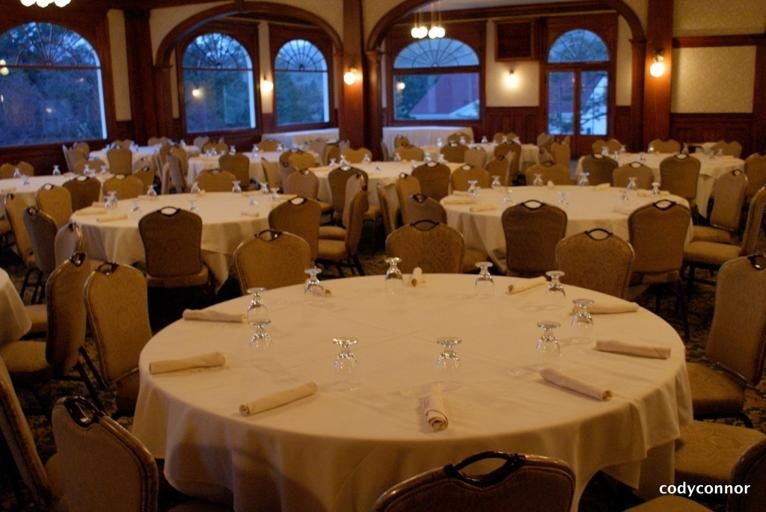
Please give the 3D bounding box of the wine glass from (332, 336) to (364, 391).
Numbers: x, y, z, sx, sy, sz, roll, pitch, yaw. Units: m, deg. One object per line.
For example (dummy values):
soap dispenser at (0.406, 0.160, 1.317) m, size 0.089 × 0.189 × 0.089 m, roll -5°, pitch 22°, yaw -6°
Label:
wine glass at (-0.144, 0.428, 2.370) m, size 0.162 × 0.172 × 0.146 m, roll -11°, pitch 19°, yaw -27°

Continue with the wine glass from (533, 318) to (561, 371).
wine glass at (0.705, 0.395, 2.481) m, size 0.124 × 0.234 × 0.128 m, roll 6°, pitch 18°, yaw 31°

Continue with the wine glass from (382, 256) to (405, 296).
wine glass at (0.067, 0.102, 3.286) m, size 0.119 × 0.208 × 0.292 m, roll -1°, pitch 10°, yaw 1°

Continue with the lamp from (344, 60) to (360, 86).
lamp at (-0.618, -3.658, 11.706) m, size 0.259 × 0.438 × 0.420 m, roll 8°, pitch 14°, yaw 37°

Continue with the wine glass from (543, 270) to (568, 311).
wine glass at (0.909, 0.196, 3.046) m, size 0.124 × 0.221 × 0.128 m, roll 10°, pitch 25°, yaw 36°

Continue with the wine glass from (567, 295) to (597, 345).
wine glass at (0.932, 0.314, 2.702) m, size 0.120 × 0.224 × 0.127 m, roll 9°, pitch 20°, yaw 36°

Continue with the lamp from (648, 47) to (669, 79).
lamp at (5.431, -3.749, 11.386) m, size 0.318 × 0.530 × 0.191 m, roll -6°, pitch 11°, yaw -25°

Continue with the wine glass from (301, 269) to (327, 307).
wine glass at (-0.392, 0.191, 3.245) m, size 0.175 × 0.206 × 0.091 m, roll 22°, pitch 33°, yaw 39°

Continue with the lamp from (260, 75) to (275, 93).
lamp at (-3.014, -4.418, 15.060) m, size 0.314 × 0.487 × 0.335 m, roll -3°, pitch 4°, yaw 9°
